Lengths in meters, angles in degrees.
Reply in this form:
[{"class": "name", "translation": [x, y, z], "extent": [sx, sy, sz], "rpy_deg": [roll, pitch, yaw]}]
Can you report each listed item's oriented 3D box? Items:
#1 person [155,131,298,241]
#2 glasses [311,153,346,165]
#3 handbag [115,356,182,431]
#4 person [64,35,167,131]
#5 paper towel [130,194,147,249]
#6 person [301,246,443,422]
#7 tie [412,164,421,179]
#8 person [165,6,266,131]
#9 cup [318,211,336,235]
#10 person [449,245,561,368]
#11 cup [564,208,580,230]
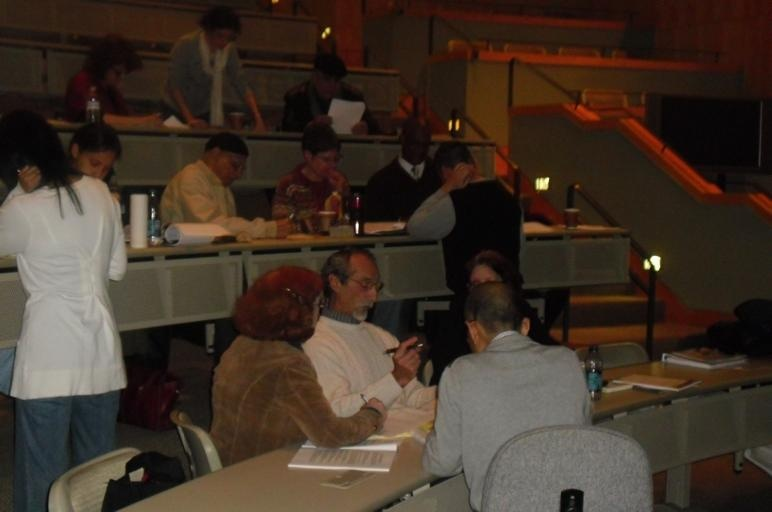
[{"class": "person", "translation": [-1.281, -0.535, 6.183], "extent": [1.070, 0.959, 0.741], "rpy_deg": [9, 3, 19]}, {"class": "glasses", "translation": [-0.509, -0.862, 6.411], "extent": [0.251, 0.102, 0.106], "rpy_deg": [-3, 6, -38]}, {"class": "handbag", "translation": [-2.066, 1.222, 6.478], "extent": [0.457, 0.688, 0.244], "rpy_deg": [8, -18, -4]}, {"class": "person", "translation": [-2.655, -1.674, 7.151], "extent": [0.883, 0.912, 0.907], "rpy_deg": [4, 12, 0]}, {"class": "paper towel", "translation": [-1.810, -0.257, 5.385], "extent": [0.123, 0.386, 0.163], "rpy_deg": [-1, 6, -20]}, {"class": "person", "translation": [-0.082, 0.607, 4.929], "extent": [0.992, 1.264, 0.854], "rpy_deg": [2, 8, -15]}, {"class": "tie", "translation": [0.283, -0.798, 6.865], "extent": [0.082, 0.124, 0.032], "rpy_deg": [-1, 16, -15]}, {"class": "person", "translation": [-1.738, -1.813, 7.157], "extent": [0.762, 1.091, 0.834], "rpy_deg": [-1, 6, -17]}, {"class": "cup", "translation": [-0.524, -0.288, 6.231], "extent": [0.172, 0.199, 0.177], "rpy_deg": [3, 2, 0]}, {"class": "person", "translation": [0.849, 0.375, 5.544], "extent": [0.627, 0.784, 0.799], "rpy_deg": [-27, -28, 34]}, {"class": "cup", "translation": [1.801, -0.368, 7.294], "extent": [0.157, 0.207, 0.199], "rpy_deg": [-7, -13, 35]}]
